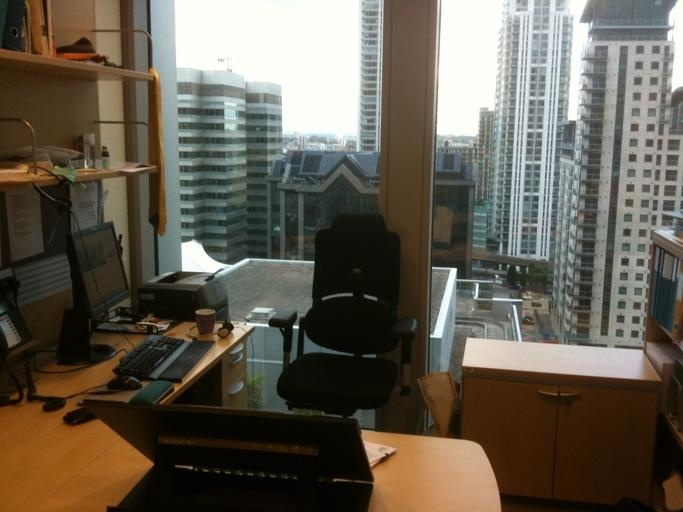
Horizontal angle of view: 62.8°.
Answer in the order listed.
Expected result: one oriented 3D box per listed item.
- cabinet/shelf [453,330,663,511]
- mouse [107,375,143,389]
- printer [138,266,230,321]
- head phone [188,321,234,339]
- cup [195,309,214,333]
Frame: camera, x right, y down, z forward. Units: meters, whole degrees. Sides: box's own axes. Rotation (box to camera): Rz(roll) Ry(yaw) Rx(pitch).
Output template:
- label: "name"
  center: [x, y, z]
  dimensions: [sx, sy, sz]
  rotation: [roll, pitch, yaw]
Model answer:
- label: "cabinet/shelf"
  center: [1.234, 0.838, 3.308]
  dimensions: [1.252, 0.996, 0.726]
  rotation: [1, 8, 12]
- label: "mouse"
  center: [-0.943, 0.535, 2.411]
  dimensions: [0.104, 0.036, 0.064]
  rotation: [1, 5, -6]
- label: "printer"
  center: [-0.925, 0.149, 3.246]
  dimensions: [0.351, 0.288, 0.360]
  rotation: [2, 10, 5]
- label: "head phone"
  center: [-0.695, 0.400, 2.974]
  dimensions: [0.142, 0.042, 0.117]
  rotation: [2, 11, 9]
- label: "cup"
  center: [-0.723, 0.343, 2.951]
  dimensions: [0.103, 0.124, 0.108]
  rotation: [0, 6, 0]
